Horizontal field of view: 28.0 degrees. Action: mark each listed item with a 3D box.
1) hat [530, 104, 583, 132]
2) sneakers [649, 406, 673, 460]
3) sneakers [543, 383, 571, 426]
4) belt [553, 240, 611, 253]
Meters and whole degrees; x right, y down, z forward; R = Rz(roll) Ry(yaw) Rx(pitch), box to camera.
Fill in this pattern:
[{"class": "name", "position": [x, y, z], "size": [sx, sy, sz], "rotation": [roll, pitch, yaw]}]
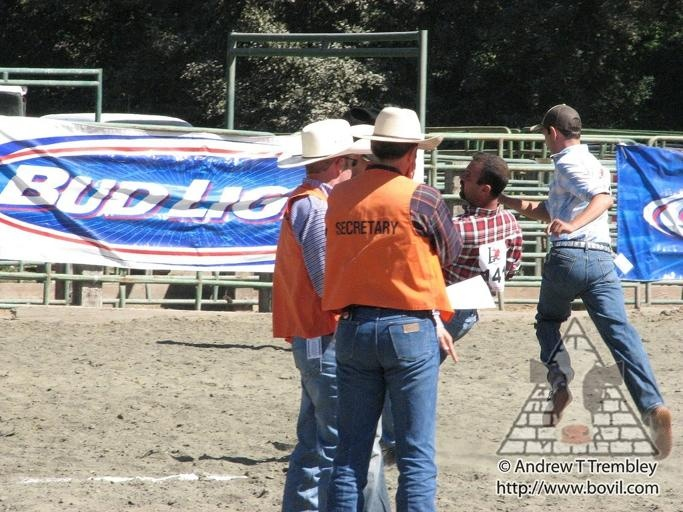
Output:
[{"class": "hat", "position": [2.455, -1.566, 15.629], "size": [0.537, 0.253, 0.343], "rotation": [5, 9, 22]}, {"class": "sneakers", "position": [3.494, 1.976, 15.149], "size": [0.240, 0.570, 0.258], "rotation": [-2, 6, 0]}, {"class": "sneakers", "position": [2.416, 1.746, 15.545], "size": [0.218, 0.573, 0.243], "rotation": [16, 40, -5]}, {"class": "belt", "position": [2.682, -0.096, 15.348], "size": [0.644, 0.139, 0.171], "rotation": [1, 1, 8]}]
